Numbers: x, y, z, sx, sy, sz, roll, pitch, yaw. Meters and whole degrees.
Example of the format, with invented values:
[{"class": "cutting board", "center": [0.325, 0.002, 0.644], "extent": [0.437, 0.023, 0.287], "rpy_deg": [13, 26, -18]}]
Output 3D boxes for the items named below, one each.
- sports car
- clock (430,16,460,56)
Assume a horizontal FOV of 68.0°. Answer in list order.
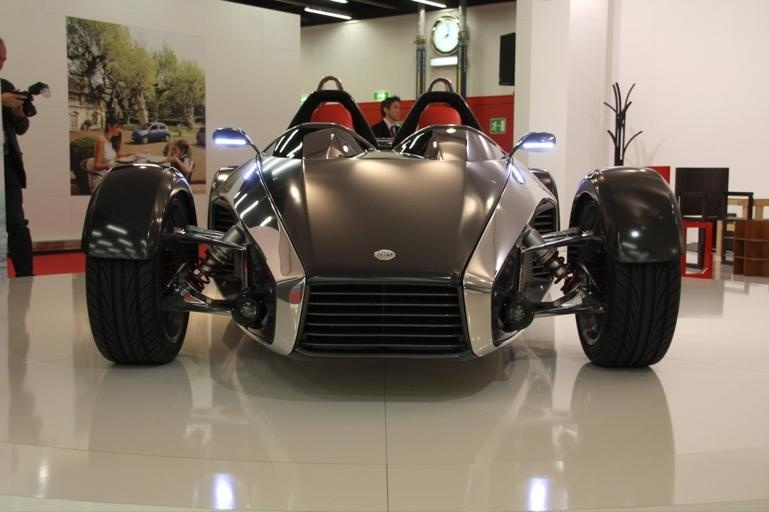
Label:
[{"class": "sports car", "center": [0.100, -0.476, 4.833], "extent": [3.260, 1.683, 4.422], "rpy_deg": [0, 13, -3]}, {"class": "clock", "center": [1.536, -5.513, 14.371], "extent": [0.800, 0.881, 0.200], "rpy_deg": [4, 6, 35]}]
